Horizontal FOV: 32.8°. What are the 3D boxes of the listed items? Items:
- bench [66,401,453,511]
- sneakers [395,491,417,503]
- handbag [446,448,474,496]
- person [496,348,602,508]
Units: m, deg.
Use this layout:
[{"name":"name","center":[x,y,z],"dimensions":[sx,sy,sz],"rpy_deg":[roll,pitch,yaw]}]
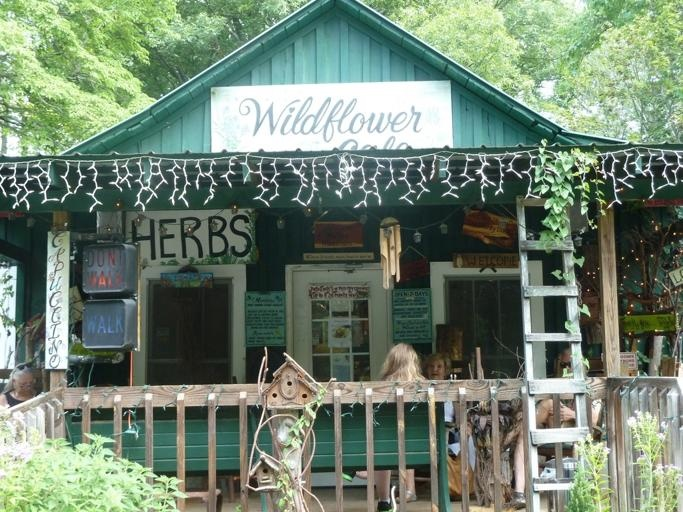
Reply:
[{"name":"bench","center":[-0.907,2.780,15.812],"dimensions":[4.731,1.475,0.451],"rpy_deg":[-1,-6,2]},{"name":"sneakers","center":[0.922,3.469,16.589],"dimensions":[0.374,0.165,0.152],"rpy_deg":[4,-9,-19]},{"name":"handbag","center":[1.674,3.198,16.805],"dimensions":[0.458,0.596,0.604],"rpy_deg":[0,-15,1]},{"name":"person","center":[2.875,2.460,15.891],"dimensions":[1.402,2.421,0.976],"rpy_deg":[14,-29,2]}]
